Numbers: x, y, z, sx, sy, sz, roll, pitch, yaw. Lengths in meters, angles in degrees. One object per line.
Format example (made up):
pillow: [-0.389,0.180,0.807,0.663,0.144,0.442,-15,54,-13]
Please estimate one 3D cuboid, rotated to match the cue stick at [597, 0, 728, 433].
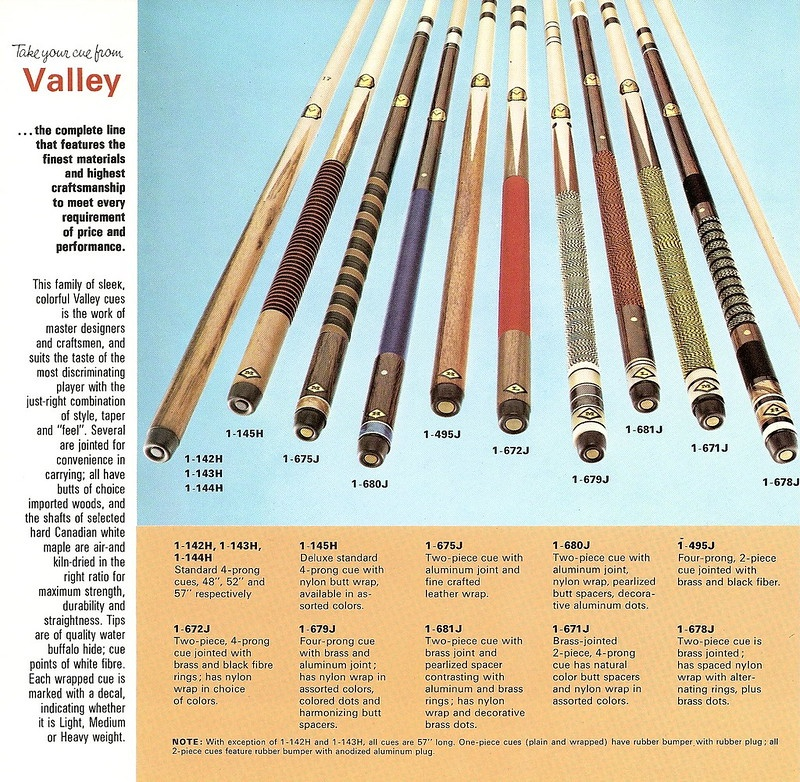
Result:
cue stick: [0.710,-0.744,2.578,0.072,2.053,0.093,-21,-37,15]
